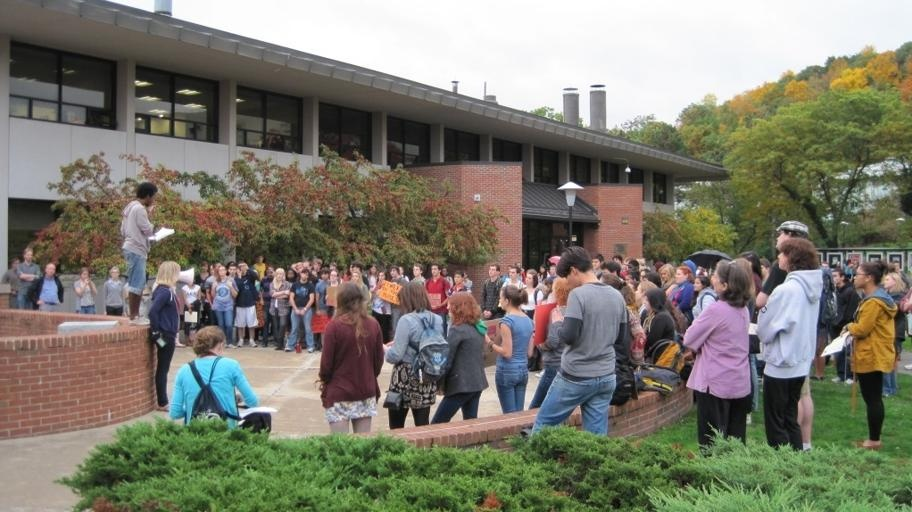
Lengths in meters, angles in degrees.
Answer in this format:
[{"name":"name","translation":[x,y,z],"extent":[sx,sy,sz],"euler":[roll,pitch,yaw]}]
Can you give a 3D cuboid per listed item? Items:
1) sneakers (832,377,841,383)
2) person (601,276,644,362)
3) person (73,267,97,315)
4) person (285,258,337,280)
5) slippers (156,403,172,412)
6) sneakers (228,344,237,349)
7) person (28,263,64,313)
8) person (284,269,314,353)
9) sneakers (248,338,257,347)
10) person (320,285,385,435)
[{"name":"sneakers","translation":[11.052,3.639,30.223],"extent":[0.096,0.128,0.303],"euler":[6,-2,-21]},{"name":"person","translation":[4.434,1.631,26.402],"extent":[1.566,2.025,0.713],"euler":[-3,0,-40]},{"name":"person","translation":[-12.492,1.181,35.143],"extent":[0.565,1.531,0.764],"euler":[0,-2,12]},{"name":"person","translation":[-4.684,0.353,34.419],"extent":[1.298,0.543,0.979],"euler":[-1,-1,15]},{"name":"slippers","translation":[-7.695,4.087,27.728],"extent":[0.472,0.324,0.166],"euler":[-3,-5,21]},{"name":"sneakers","translation":[-7.382,3.030,34.563],"extent":[0.128,0.131,0.314],"euler":[2,-9,-41]},{"name":"person","translation":[-13.840,1.059,35.194],"extent":[0.967,1.598,0.970],"euler":[1,-2,-14]},{"name":"person","translation":[-4.994,1.788,33.823],"extent":[0.962,2.715,0.633],"euler":[1,-2,0]},{"name":"sneakers","translation":[-6.794,2.973,34.888],"extent":[0.152,0.216,0.383],"euler":[2,-9,-44]},{"name":"person","translation":[-2.466,2.436,24.743],"extent":[1.435,3.567,0.495],"euler":[1,-2,-7]}]
